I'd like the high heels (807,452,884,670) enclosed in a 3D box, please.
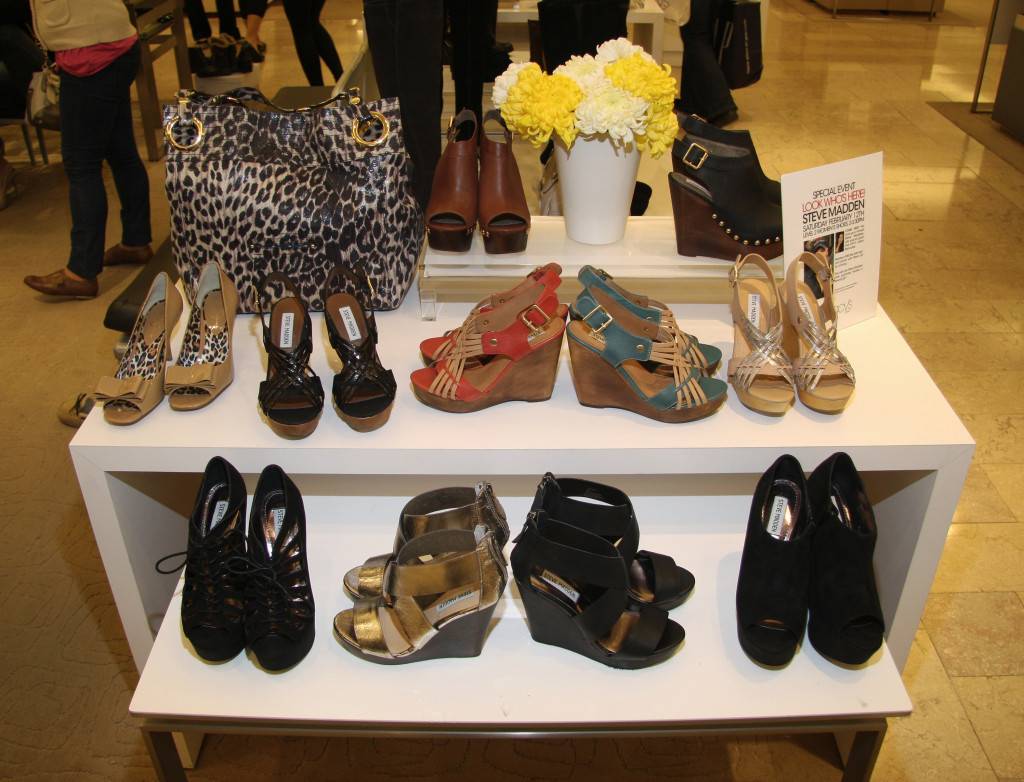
[{"bbox_3d":[0.616,0.318,1.493,0.140,0.159,0.422,-3,66,9],"label":"high heels"}]

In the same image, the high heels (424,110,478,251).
[{"bbox_3d":[-0.130,-0.470,1.806,0.100,0.137,0.368,2,78,3],"label":"high heels"}]

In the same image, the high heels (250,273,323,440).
[{"bbox_3d":[-0.507,-0.081,1.660,0.131,0.123,0.423,-5,61,-21],"label":"high heels"}]

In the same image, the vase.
[{"bbox_3d":[0.196,-0.474,1.806,0.189,0.228,0.209,3,27,5],"label":"vase"}]

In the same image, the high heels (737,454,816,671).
[{"bbox_3d":[0.528,0.316,1.515,0.131,0.158,0.422,2,66,20],"label":"high heels"}]

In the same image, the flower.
[{"bbox_3d":[0.173,-0.658,1.745,0.435,0.205,0.274,-3,40,-3],"label":"flower"}]

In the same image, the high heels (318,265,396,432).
[{"bbox_3d":[-0.334,-0.082,1.610,0.137,0.104,0.410,-8,64,-15],"label":"high heels"}]

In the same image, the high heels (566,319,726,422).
[{"bbox_3d":[0.278,-0.003,1.610,0.325,0.186,0.187,5,59,8],"label":"high heels"}]

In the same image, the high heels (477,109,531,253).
[{"bbox_3d":[-0.035,-0.533,1.849,0.113,0.146,0.388,-3,71,-2],"label":"high heels"}]

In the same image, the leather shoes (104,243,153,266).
[{"bbox_3d":[-1.793,-0.608,3.502,0.203,0.087,0.089,0,48,-7],"label":"leather shoes"}]

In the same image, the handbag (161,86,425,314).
[{"bbox_3d":[-0.521,-0.429,1.779,0.528,0.499,0.222,-1,13,-2],"label":"handbag"}]

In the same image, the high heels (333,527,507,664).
[{"bbox_3d":[-0.176,0.403,1.419,0.278,0.191,0.244,4,39,-5],"label":"high heels"}]

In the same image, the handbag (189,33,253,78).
[{"bbox_3d":[-1.691,-1.863,4.253,0.200,0.139,0.383,-2,28,-7],"label":"handbag"}]

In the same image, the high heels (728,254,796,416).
[{"bbox_3d":[0.535,-0.135,1.680,0.118,0.125,0.390,-1,53,8],"label":"high heels"}]

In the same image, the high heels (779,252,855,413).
[{"bbox_3d":[0.652,-0.140,1.681,0.125,0.128,0.398,-4,63,4],"label":"high heels"}]

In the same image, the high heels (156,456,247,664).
[{"bbox_3d":[-0.581,0.324,1.464,0.170,0.138,0.361,3,66,-13],"label":"high heels"}]

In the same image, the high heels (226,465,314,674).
[{"bbox_3d":[-0.461,0.360,1.435,0.126,0.141,0.411,-2,73,-17],"label":"high heels"}]

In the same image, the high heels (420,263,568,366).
[{"bbox_3d":[-0.028,-0.151,1.596,0.288,0.163,0.155,-1,39,-1],"label":"high heels"}]
